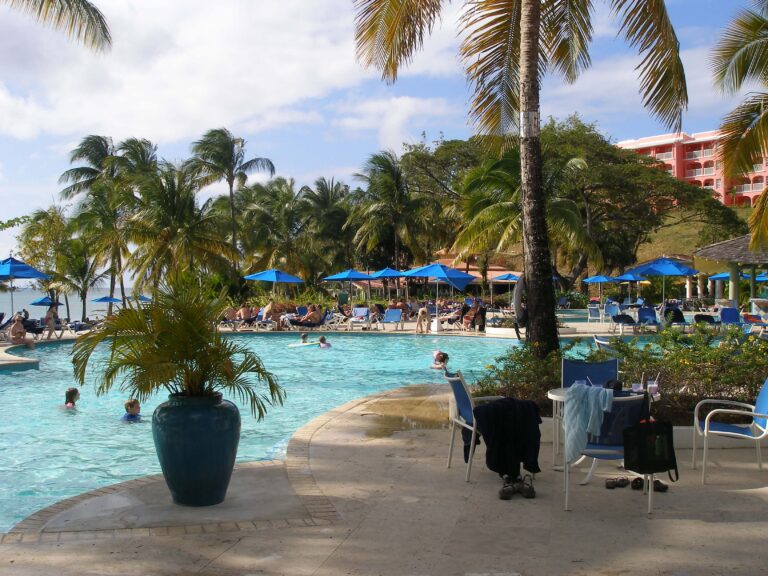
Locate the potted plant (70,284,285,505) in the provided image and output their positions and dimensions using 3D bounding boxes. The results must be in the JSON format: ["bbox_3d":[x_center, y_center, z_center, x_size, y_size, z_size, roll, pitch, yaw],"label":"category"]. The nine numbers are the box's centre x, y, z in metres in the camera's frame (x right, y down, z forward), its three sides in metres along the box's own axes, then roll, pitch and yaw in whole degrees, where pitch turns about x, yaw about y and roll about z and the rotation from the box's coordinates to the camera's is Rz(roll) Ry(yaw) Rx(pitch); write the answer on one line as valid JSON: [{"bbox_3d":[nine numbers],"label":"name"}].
[{"bbox_3d":[-2.167,1.113,7.868,1.830,2.393,0.777,0,3,10],"label":"potted plant"}]

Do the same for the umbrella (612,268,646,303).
[{"bbox_3d":[14.730,-0.110,43.236,2.124,2.072,2.077,0,-6,13],"label":"umbrella"}]

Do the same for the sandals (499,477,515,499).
[{"bbox_3d":[1.377,2.194,7.971,0.172,0.176,0.284,0,3,17],"label":"sandals"}]

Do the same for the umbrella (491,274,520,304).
[{"bbox_3d":[6.361,0.019,38.086,1.301,1.300,1.753,-1,2,4],"label":"umbrella"}]

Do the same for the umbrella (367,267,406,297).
[{"bbox_3d":[0.270,-0.080,34.436,1.608,1.290,1.623,4,8,34],"label":"umbrella"}]

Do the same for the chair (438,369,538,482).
[{"bbox_3d":[1.330,1.616,8.542,1.065,1.209,1.074,-3,-1,28],"label":"chair"}]

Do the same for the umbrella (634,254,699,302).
[{"bbox_3d":[9.731,-0.297,25.688,1.860,1.435,1.802,7,-2,-14],"label":"umbrella"}]

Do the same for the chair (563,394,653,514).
[{"bbox_3d":[2.559,1.788,8.046,0.660,0.950,0.711,-1,1,7],"label":"chair"}]

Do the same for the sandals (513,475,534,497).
[{"bbox_3d":[1.580,2.212,8.057,0.161,0.217,0.220,0,-11,-5],"label":"sandals"}]

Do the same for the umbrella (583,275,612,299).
[{"bbox_3d":[14.686,-0.115,49.490,1.506,1.631,1.475,9,18,43],"label":"umbrella"}]

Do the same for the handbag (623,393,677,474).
[{"bbox_3d":[2.798,1.595,7.517,0.449,0.625,0.345,-4,-11,16],"label":"handbag"}]
